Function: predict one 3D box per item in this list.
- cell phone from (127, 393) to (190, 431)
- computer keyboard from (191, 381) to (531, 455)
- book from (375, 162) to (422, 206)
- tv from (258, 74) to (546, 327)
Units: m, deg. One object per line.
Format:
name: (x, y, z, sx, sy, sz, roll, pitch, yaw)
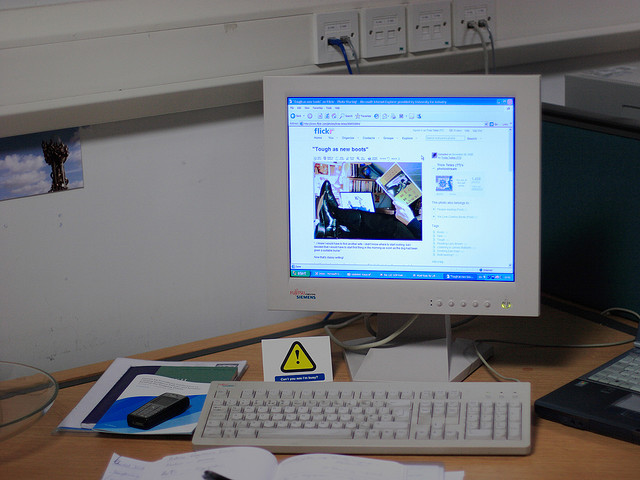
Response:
cell phone: (-0.308, 0.313, 1.285, 0.055, 0.021, 0.077, 7, 24, 31)
computer keyboard: (0.067, 0.328, 1.267, 0.596, 0.058, 0.206, -2, 21, 12)
book: (0.159, -0.103, 1.352, 0.059, 0.081, 0.008, -30, 12, 31)
tv: (0.164, -0.089, 1.346, 0.495, 0.450, 0.053, 1, 3, 6)
